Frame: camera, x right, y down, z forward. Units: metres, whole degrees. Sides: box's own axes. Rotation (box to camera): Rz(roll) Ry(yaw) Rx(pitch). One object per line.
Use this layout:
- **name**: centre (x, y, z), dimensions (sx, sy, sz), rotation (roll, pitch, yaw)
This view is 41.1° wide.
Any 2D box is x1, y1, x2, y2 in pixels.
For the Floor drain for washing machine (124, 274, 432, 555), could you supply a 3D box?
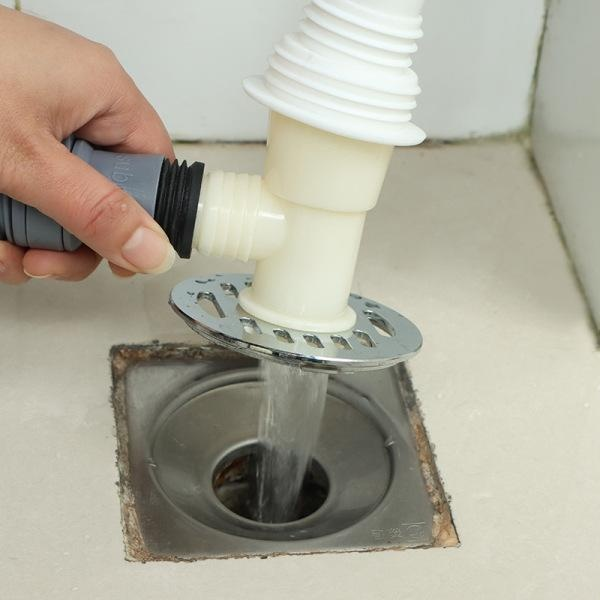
- **Floor drain for washing machine**: centre (-0.012, 0.144, 0.751), dimensions (0.368, 0.067, 0.272), rotation (0, 44, -11)
